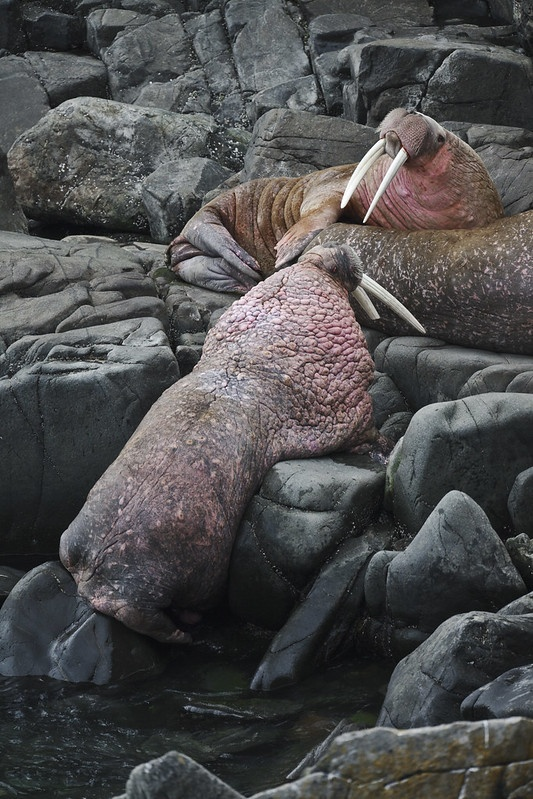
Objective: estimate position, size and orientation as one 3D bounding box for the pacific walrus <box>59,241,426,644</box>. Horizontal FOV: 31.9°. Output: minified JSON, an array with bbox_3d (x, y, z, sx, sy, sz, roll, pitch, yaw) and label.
[{"bbox_3d":[-0.052,0.103,4.473,0.959,0.949,2.185,17,63,46],"label":"pacific walrus"}]

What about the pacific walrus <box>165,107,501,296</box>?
[{"bbox_3d":[0.559,-1.518,7.389,2.531,0.928,1.884,-3,10,41],"label":"pacific walrus"}]
